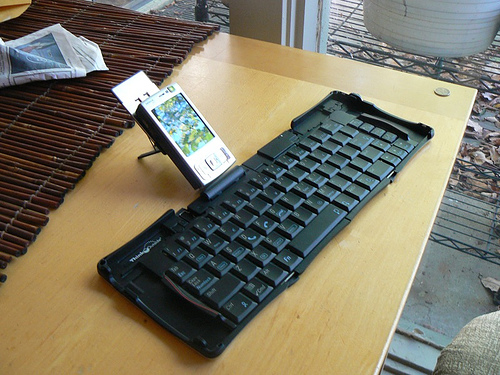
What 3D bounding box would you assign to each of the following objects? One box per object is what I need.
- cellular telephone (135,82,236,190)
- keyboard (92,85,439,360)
[{"bbox_3d":[-0.127,-0.065,0.697,0.124,0.049,0.208,-40,98,-38],"label":"cellular telephone"},{"bbox_3d":[0.053,0.008,0.628,0.228,0.315,0.454,36,27,23],"label":"keyboard"}]
